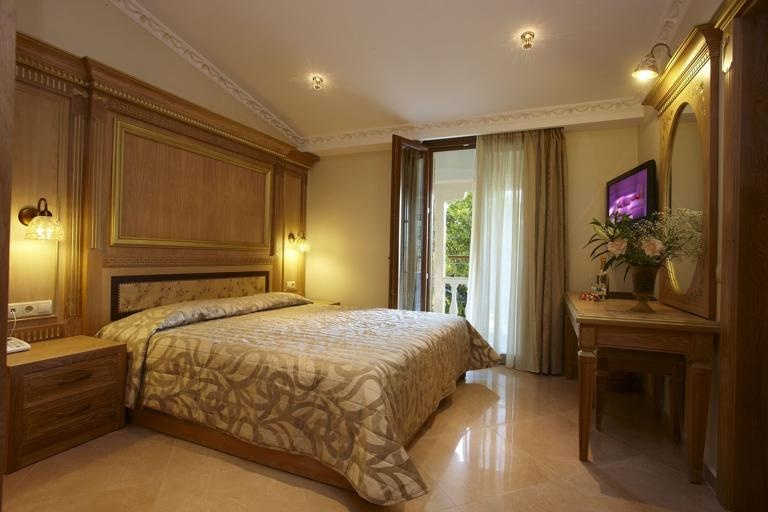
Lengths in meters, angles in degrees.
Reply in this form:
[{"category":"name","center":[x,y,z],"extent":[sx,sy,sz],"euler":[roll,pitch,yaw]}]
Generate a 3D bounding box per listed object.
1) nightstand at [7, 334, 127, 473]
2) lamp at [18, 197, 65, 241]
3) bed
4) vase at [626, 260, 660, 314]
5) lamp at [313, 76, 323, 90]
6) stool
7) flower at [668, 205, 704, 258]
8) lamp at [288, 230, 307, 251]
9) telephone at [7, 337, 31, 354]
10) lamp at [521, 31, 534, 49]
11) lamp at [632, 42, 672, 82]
[{"category":"nightstand","center":[-2.679,1.129,4.284],"extent":[0.755,1.089,1.052],"euler":[-2,-3,28]},{"category":"lamp","center":[-3.017,-0.313,4.275],"extent":[0.367,0.342,0.298],"euler":[-1,-2,37]},{"category":"bed","center":[-0.835,1.002,4.073],"extent":[1.856,0.493,1.923],"euler":[2,3,30]},{"category":"vase","center":[2.206,0.288,4.165],"extent":[0.216,0.372,0.232],"euler":[7,-3,-19]},{"category":"lamp","center":[-0.753,-1.975,5.638],"extent":[0.163,0.142,0.142],"euler":[-7,16,-29]},{"category":"stool","center":[2.242,1.140,4.455],"extent":[0.663,0.668,0.536],"euler":[1,1,11]},{"category":"flower","center":[2.530,-0.192,4.110],"extent":[0.261,0.384,0.303],"euler":[8,16,29]},{"category":"lamp","center":[-1.220,-0.196,6.958],"extent":[0.255,0.257,0.220],"euler":[-3,-7,27]},{"category":"telephone","center":[-3.030,0.742,4.037],"extent":[0.189,0.047,0.192],"euler":[19,11,-35]},{"category":"lamp","center":[1.403,-2.094,4.792],"extent":[0.115,0.128,0.121],"euler":[-1,-24,4]},{"category":"lamp","center":[2.407,-1.745,4.348],"extent":[0.261,0.324,0.192],"euler":[15,-10,35]}]
